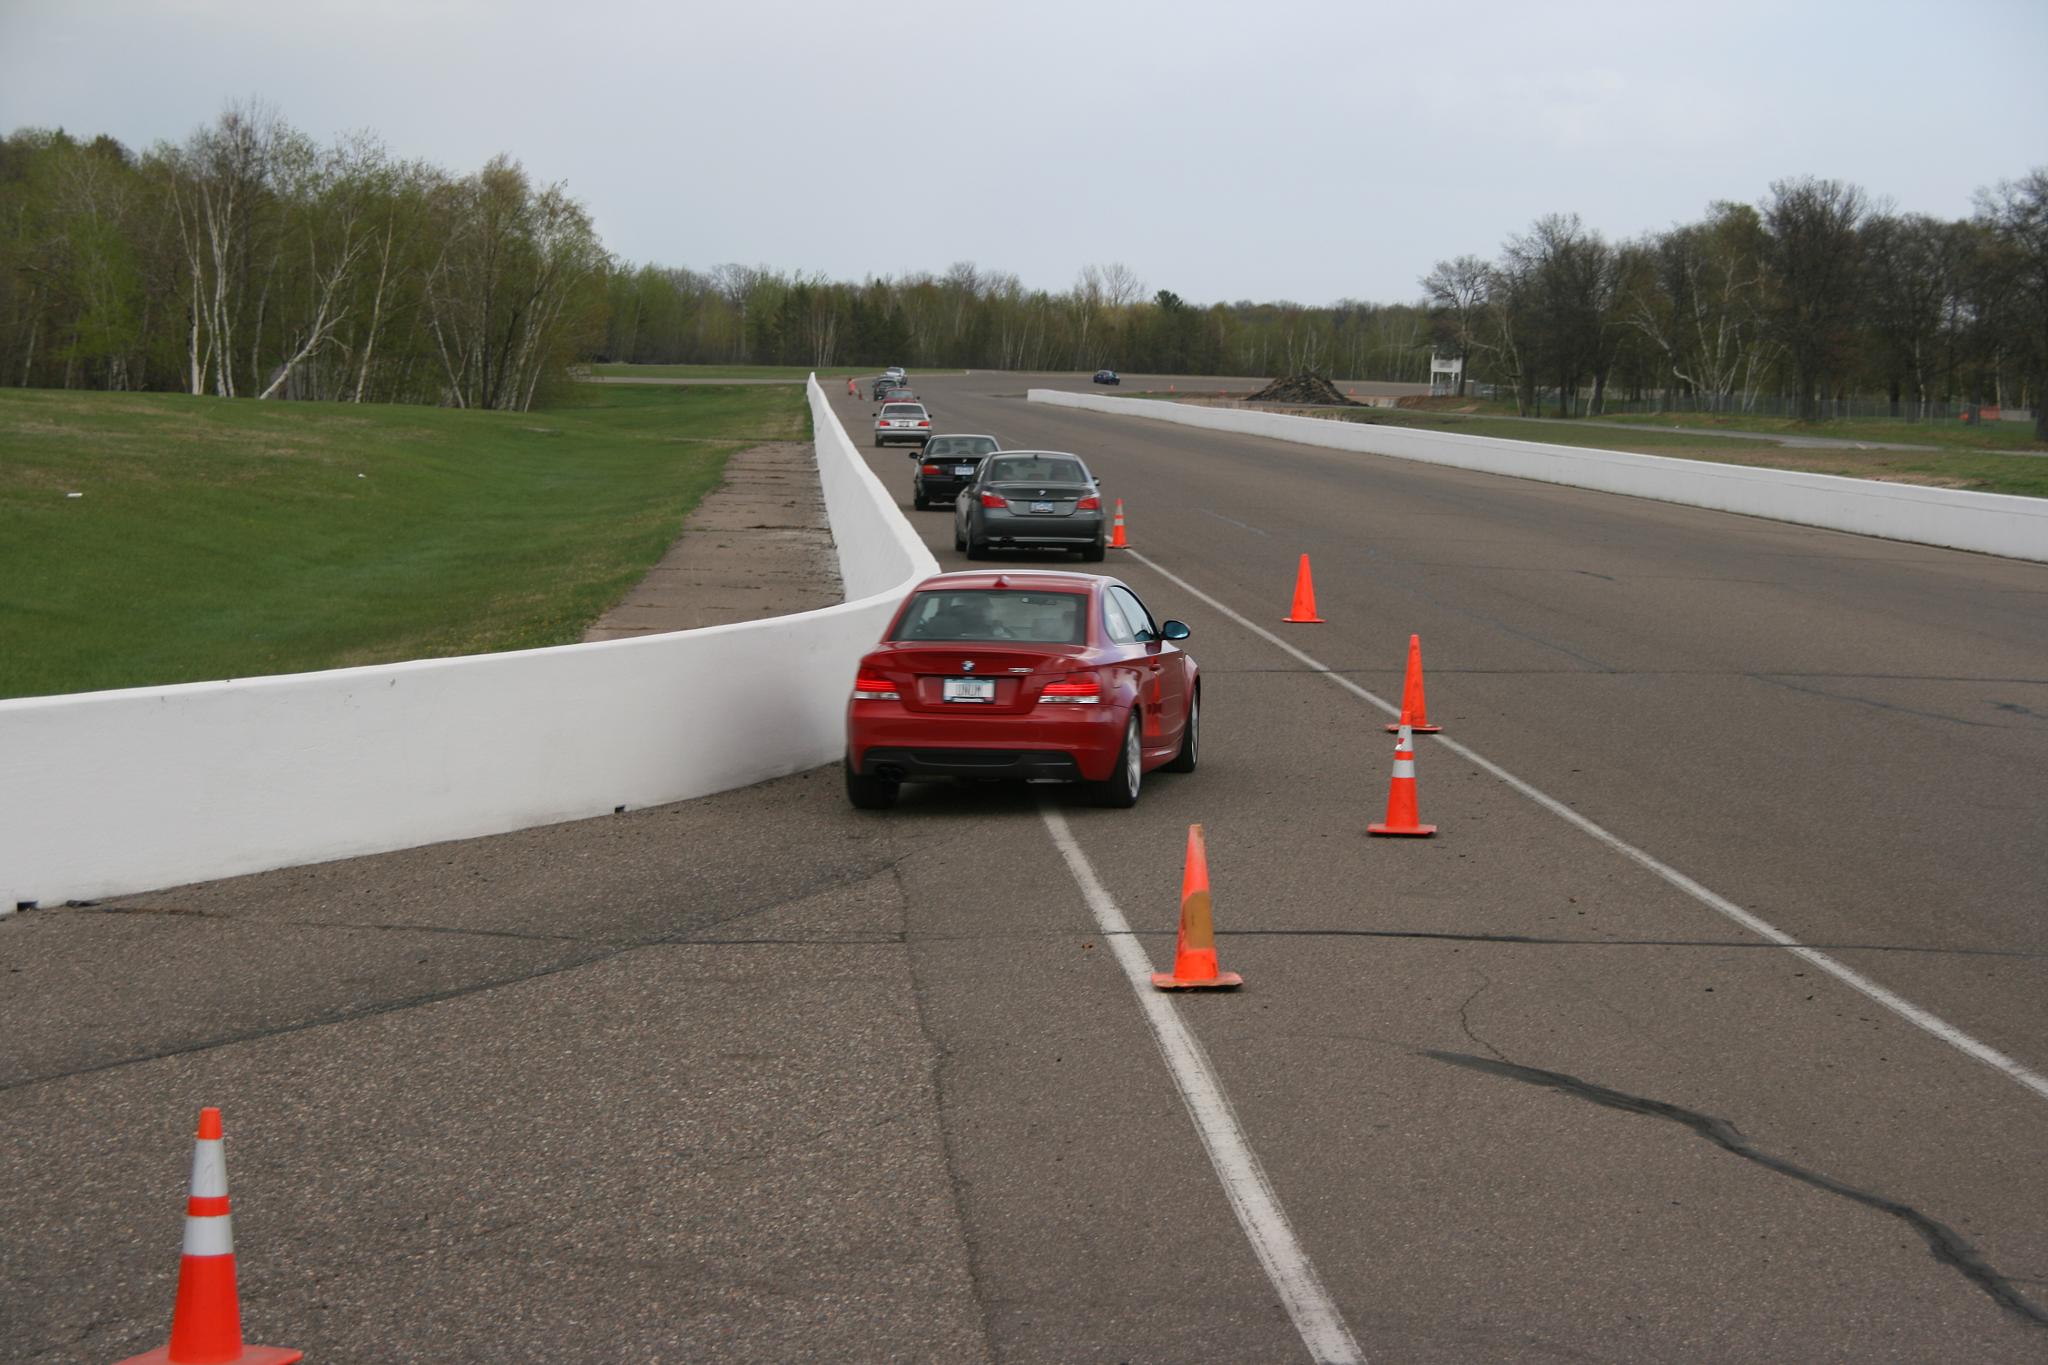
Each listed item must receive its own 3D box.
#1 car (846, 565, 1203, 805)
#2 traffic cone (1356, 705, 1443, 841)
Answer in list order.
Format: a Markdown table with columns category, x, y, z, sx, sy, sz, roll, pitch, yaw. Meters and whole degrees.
| category | x | y | z | sx | sy | sz | roll | pitch | yaw |
| --- | --- | --- | --- | --- | --- | --- | --- | --- | --- |
| car | -0.020 | 0.091 | 12.762 | 2.801 | 1.684 | 1.662 | -3 | 10 | -18 |
| traffic cone | 2.673 | 0.651 | 12.022 | 0.667 | 1.028 | 0.722 | 0 | 5 | 2 |
